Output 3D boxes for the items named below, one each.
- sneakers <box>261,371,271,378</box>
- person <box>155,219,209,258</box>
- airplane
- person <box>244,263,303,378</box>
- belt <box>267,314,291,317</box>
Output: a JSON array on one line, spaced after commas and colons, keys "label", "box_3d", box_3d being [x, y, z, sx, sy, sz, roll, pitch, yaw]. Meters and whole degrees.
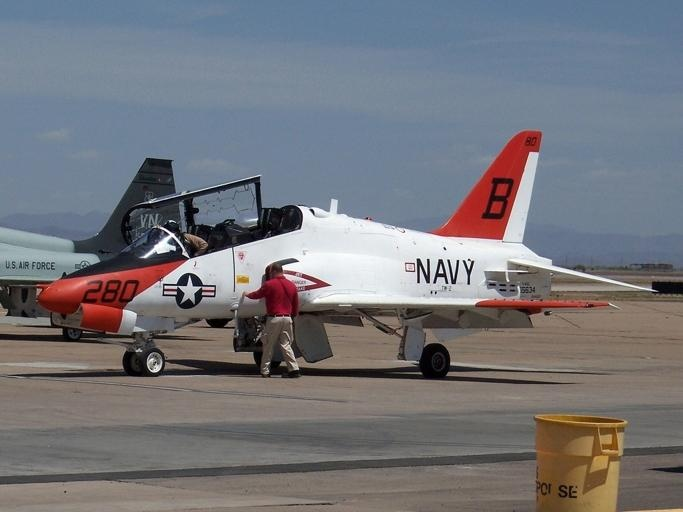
[{"label": "sneakers", "box_3d": [-1.324, 2.152, 19.885, 0.145, 0.072, 0.122, 1, -11, -5]}, {"label": "person", "box_3d": [-2.917, -0.288, 20.224, 0.758, 0.323, 0.983, -1, -17, 38]}, {"label": "airplane", "box_3d": [-0.101, 0.276, 21.088, 9.643, 2.415, 7.631, 0, -1, -35]}, {"label": "person", "box_3d": [-1.173, 1.157, 19.750, 0.665, 1.446, 0.859, 3, 1, 43]}, {"label": "belt", "box_3d": [-1.067, 1.070, 19.634, 0.402, 0.055, 0.145, 0, 1, -27]}]
